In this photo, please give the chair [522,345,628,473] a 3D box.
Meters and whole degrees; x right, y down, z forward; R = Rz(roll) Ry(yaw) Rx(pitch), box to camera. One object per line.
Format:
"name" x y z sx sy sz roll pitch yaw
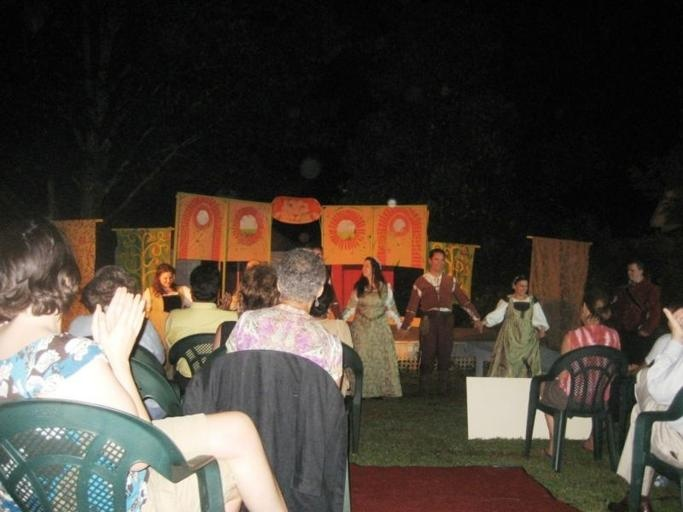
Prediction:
"chair" 2.029 1.365 5.825 0.898 1.514 0.935 0 1 -4
